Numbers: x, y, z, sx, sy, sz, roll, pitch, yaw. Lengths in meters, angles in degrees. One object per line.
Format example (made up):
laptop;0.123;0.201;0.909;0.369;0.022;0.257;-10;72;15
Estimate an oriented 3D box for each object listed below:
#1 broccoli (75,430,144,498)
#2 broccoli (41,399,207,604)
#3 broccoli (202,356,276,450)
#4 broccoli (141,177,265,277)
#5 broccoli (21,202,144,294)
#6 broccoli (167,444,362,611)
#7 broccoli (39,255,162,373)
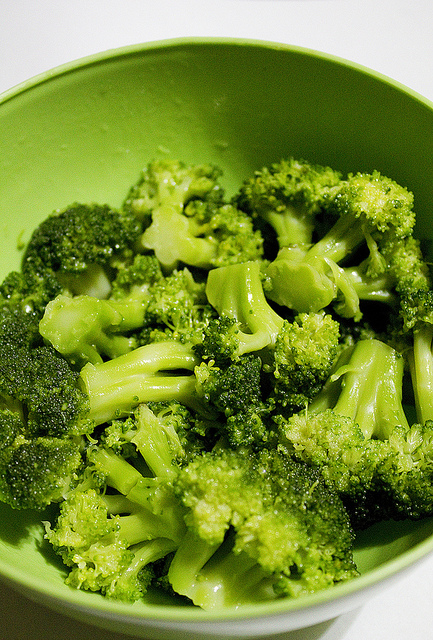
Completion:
broccoli;-0.265;0.378;1.493;0.174;0.070;0.152;33;83;14
broccoli;-0.219;0.422;1.386;0.372;0.183;0.455;18;75;-13
broccoli;0.070;0.198;1.394;0.098;0.194;0.171;-13;26;-17
broccoli;-0.035;-0.295;1.826;0.349;0.272;0.193;31;46;-2
broccoli;-0.365;-0.227;1.767;0.164;0.292;0.291;58;37;-15
broccoli;0.101;0.483;1.334;0.459;0.298;0.326;15;42;12
broccoli;-0.342;-0.025;1.694;0.239;0.185;0.376;41;46;-20
